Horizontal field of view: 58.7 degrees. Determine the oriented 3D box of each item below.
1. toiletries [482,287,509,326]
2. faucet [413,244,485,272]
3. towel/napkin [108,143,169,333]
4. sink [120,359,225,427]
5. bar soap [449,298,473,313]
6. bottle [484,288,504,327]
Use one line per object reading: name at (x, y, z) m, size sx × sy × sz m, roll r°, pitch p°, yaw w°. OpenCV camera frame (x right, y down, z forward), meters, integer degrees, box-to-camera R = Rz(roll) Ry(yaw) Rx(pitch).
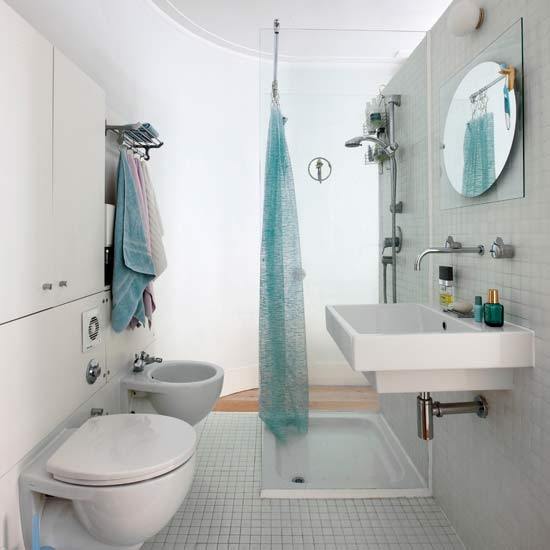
toiletries at (0.730, 0.111, 1.637) m, size 0.056 × 0.120 × 0.062 m, roll 0°, pitch 7°, yaw 20°
faucet at (0.717, -0.066, 2.000) m, size 0.234 × 0.064 × 0.101 m, roll -1°, pitch -29°, yaw 1°
towel/napkin at (-0.677, -0.153, 2.432) m, size 0.218 × 0.922 × 0.426 m, roll -1°, pitch 6°, yaw -6°
sink at (-0.524, 0.577, 2.514) m, size 0.353 × 0.256 × 0.350 m, roll 1°, pitch 8°, yaw -9°
bar soap at (0.710, 0.111, 1.850) m, size 0.057 × 0.054 × 0.086 m, roll -15°, pitch 2°, yaw -11°
bottle at (0.740, 0.109, 1.661) m, size 0.063 × 0.121 × 0.115 m, roll 2°, pitch 7°, yaw 25°
